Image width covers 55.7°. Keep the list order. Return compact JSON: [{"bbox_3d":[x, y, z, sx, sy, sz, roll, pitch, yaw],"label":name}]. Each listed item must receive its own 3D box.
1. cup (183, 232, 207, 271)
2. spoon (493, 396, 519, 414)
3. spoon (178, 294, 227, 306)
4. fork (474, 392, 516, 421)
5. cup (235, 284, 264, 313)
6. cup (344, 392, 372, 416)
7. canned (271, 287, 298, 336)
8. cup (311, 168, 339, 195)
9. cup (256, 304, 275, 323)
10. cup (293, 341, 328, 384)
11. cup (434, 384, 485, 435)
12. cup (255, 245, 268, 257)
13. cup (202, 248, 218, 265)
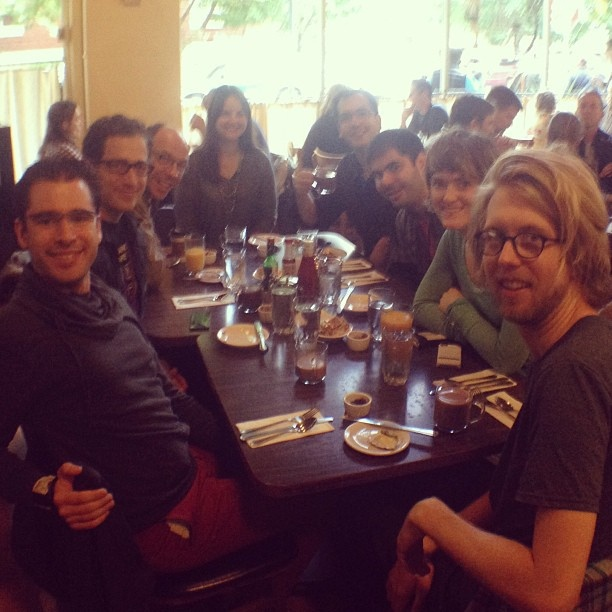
[{"bbox_3d":[-0.582,-0.280,3.005,0.116,0.218,0.125,3,30,-2],"label":"cup"},{"bbox_3d":[0.549,0.273,1.601,0.017,0.012,0.078,-6,12,-7],"label":"spoon"},{"bbox_3d":[-0.447,-0.027,2.493,0.185,0.024,0.028,-5,55,-14],"label":"spoon"},{"bbox_3d":[0.548,0.275,1.620,0.049,0.018,0.081,-4,23,-17],"label":"fork"},{"bbox_3d":[-0.230,-0.041,2.378,0.096,0.096,0.109,-1,19,-11],"label":"cup"},{"bbox_3d":[0.143,0.269,1.609,0.074,0.041,0.120,0,16,9],"label":"cup"},{"bbox_3d":[-0.081,0.024,2.104,0.098,0.175,0.103,10,23,24],"label":"canned"},{"bbox_3d":[0.104,-0.731,3.396,0.119,0.164,0.299,-2,15,1],"label":"cup"},{"bbox_3d":[-0.156,0.026,2.254,0.056,0.042,0.064,8,20,12],"label":"cup"},{"bbox_3d":[0.014,0.169,1.799,0.096,0.121,0.110,-2,12,-14],"label":"cup"},{"bbox_3d":[0.394,0.266,1.554,0.143,0.120,0.096,3,12,29],"label":"cup"},{"bbox_3d":[-0.252,-0.314,3.269,0.057,0.048,0.061,2,23,-1],"label":"cup"},{"bbox_3d":[-0.519,-0.273,3.133,0.074,0.061,0.087,-1,12,-6],"label":"cup"}]
